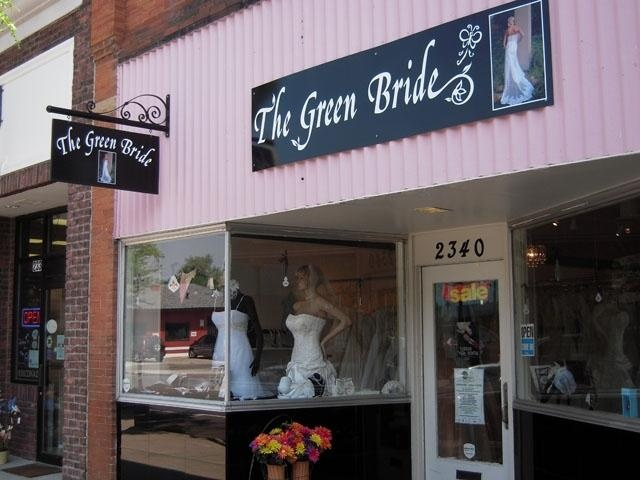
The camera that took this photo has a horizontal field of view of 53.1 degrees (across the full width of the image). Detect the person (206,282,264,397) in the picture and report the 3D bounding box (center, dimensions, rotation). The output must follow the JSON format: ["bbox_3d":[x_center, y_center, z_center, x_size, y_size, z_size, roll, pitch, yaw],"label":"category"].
[{"bbox_3d":[-0.906,1.096,7.026,0.616,1.270,0.315,3,-13,-6],"label":"person"}]

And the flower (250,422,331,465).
[{"bbox_3d":[-0.257,2.088,6.607,0.494,0.263,0.539,-1,1,22],"label":"flower"}]

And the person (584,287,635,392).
[{"bbox_3d":[2.656,0.904,5.833,0.126,0.899,0.554,4,-14,-13],"label":"person"}]
